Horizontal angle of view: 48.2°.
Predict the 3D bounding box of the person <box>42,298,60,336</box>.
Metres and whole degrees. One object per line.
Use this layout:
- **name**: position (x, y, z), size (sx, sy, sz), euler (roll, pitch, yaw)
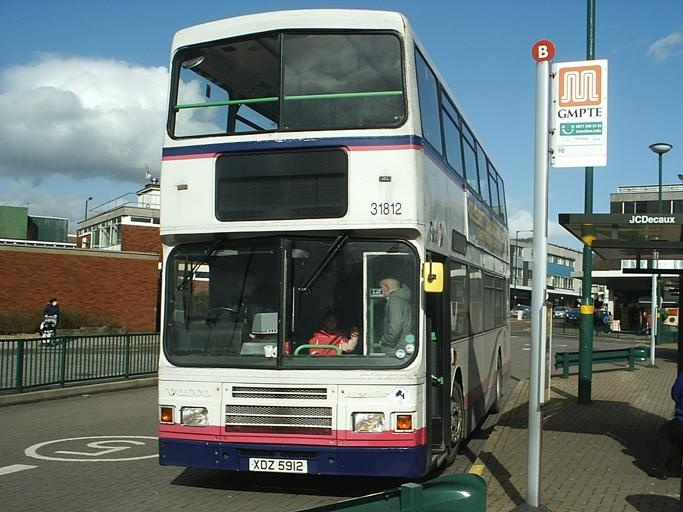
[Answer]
- **person**: position (-12.161, 2.533, 31.919), size (0.665, 1.985, 0.598), euler (7, 16, -33)
